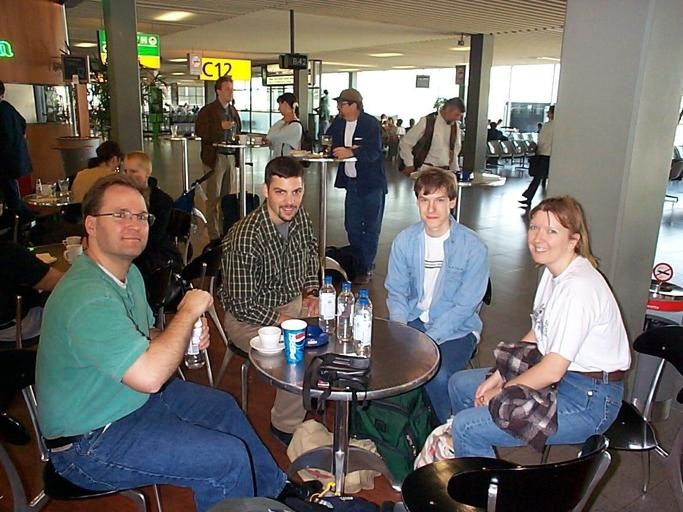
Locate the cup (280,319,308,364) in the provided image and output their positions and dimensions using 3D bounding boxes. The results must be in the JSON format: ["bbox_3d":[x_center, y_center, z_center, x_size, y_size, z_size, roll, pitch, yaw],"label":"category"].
[{"bbox_3d":[-0.233,0.412,2.366,0.127,0.152,0.131,-2,-4,0],"label":"cup"}]

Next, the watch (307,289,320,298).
[{"bbox_3d":[-0.178,0.240,3.265,0.047,0.035,0.060,-2,4,-42],"label":"watch"}]

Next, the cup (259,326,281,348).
[{"bbox_3d":[-0.337,0.381,2.385,0.096,0.070,0.097,-3,8,0],"label":"cup"}]

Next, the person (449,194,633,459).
[{"bbox_3d":[0.961,0.389,2.426,0.823,1.270,0.621,4,18,13],"label":"person"}]

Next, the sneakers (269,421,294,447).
[{"bbox_3d":[-0.372,1.108,3.126,0.124,0.046,0.092,37,26,24],"label":"sneakers"}]

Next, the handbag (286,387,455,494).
[{"bbox_3d":[0.125,0.975,2.794,0.749,0.278,0.580,4,11,-7],"label":"handbag"}]

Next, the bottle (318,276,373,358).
[{"bbox_3d":[0.015,0.331,2.695,0.123,0.345,0.349,-7,13,-26],"label":"bottle"}]

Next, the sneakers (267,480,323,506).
[{"bbox_3d":[-0.189,1.044,2.192,0.091,0.081,0.234,-12,-3,37],"label":"sneakers"}]

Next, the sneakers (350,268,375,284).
[{"bbox_3d":[0.238,0.236,5.574,0.102,0.113,0.265,1,2,25],"label":"sneakers"}]

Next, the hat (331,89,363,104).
[{"bbox_3d":[0.080,-1.757,5.448,0.237,0.126,0.171,17,32,6],"label":"hat"}]

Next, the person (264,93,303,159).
[{"bbox_3d":[-0.745,-1.713,6.603,0.502,0.855,0.918,-2,17,-7],"label":"person"}]
